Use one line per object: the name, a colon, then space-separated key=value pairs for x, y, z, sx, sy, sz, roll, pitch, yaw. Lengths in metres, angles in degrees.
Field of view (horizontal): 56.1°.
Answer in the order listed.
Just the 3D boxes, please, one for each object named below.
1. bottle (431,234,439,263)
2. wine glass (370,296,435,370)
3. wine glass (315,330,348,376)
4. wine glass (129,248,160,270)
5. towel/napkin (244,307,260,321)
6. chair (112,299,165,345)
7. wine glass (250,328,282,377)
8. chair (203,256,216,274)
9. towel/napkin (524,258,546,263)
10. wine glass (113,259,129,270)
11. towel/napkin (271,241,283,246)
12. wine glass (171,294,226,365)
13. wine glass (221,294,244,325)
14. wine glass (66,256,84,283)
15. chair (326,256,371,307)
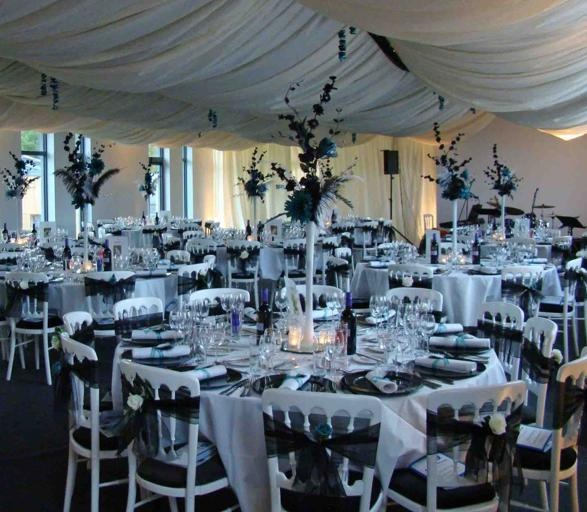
bottle: x=1.597 y=-0.092 z=6.202 sx=0.077 sy=0.338 sz=0.281 roll=0 pitch=3 yaw=14
wine glass: x=0.645 y=0.420 z=3.160 sx=0.173 sy=0.286 sz=0.667 roll=-1 pitch=3 yaw=6
wine glass: x=0.187 y=0.451 z=2.807 sx=0.160 sy=0.343 sz=0.193 roll=-2 pitch=4 yaw=-7
wine glass: x=-1.642 y=0.026 z=6.068 sx=0.224 sy=0.219 sz=0.240 roll=3 pitch=-1 yaw=-35
towel/napkin: x=-0.267 y=0.358 z=3.588 sx=0.066 sy=0.050 sz=0.134 roll=-5 pitch=10 yaw=-23
chair: x=-1.054 y=0.434 z=3.737 sx=0.243 sy=0.471 sz=0.293 roll=1 pitch=-8 yaw=-11
wine glass: x=-0.126 y=0.498 z=2.774 sx=0.145 sy=0.317 sz=0.166 roll=0 pitch=-5 yaw=1
chair: x=-0.891 y=0.061 z=5.866 sx=0.101 sy=0.157 sz=0.151 roll=2 pitch=-9 yaw=-2
towel/napkin: x=2.816 y=0.045 z=6.366 sx=0.165 sy=0.062 sz=0.190 roll=-1 pitch=1 yaw=22
wine glass: x=-1.788 y=0.060 z=5.701 sx=0.116 sy=0.159 sz=0.112 roll=-5 pitch=8 yaw=-41
towel/napkin: x=-0.254 y=-0.203 z=8.544 sx=0.181 sy=0.082 sz=0.382 roll=-2 pitch=3 yaw=-1
wine glass: x=-0.559 y=0.424 z=3.316 sx=0.172 sy=0.260 sz=0.914 roll=0 pitch=0 yaw=-8
wine glass: x=-0.382 y=0.335 z=3.541 sx=0.128 sy=0.274 sz=0.158 roll=0 pitch=4 yaw=-4
wine glass: x=-2.195 y=0.139 z=5.522 sx=0.175 sy=0.255 sz=0.180 roll=6 pitch=6 yaw=41
chair: x=0.621 y=0.228 z=6.471 sx=0.414 sy=0.867 sz=0.420 roll=-6 pitch=12 yaw=-20
